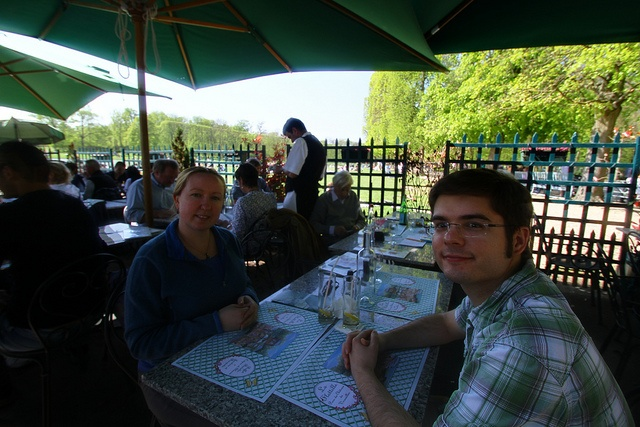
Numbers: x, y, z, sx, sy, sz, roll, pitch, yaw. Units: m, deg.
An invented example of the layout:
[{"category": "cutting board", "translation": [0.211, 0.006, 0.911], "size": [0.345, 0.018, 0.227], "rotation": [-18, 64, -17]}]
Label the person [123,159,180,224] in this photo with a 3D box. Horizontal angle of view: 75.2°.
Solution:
[{"category": "person", "translation": [-2.532, -0.424, 6.435], "size": [0.557, 0.987, 1.013], "rotation": [21, 20, 12]}]
